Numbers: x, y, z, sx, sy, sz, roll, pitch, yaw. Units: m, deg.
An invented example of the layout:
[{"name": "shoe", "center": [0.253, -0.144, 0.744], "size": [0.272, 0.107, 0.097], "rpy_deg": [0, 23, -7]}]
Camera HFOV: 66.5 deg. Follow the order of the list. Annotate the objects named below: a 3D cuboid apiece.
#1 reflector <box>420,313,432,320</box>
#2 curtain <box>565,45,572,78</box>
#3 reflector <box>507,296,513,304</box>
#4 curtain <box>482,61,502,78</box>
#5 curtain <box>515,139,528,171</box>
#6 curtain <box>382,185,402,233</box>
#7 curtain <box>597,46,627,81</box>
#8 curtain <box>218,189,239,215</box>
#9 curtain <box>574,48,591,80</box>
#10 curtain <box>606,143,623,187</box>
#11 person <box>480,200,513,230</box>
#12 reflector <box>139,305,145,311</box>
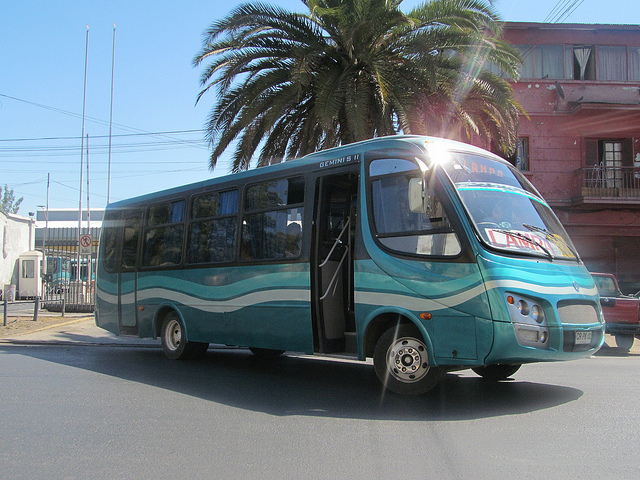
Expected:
[{"name": "reflector", "center": [1.455, 1.023, 6.587], "size": [0.160, 0.086, 0.012], "rpy_deg": [-3, -3, 30]}, {"name": "curtain", "center": [12.228, -8.691, 23.707], "size": [0.372, 1.650, 0.123], "rpy_deg": [0, -3, -8]}, {"name": "reflector", "center": [2.432, 0.753, 6.169], "size": [0.075, 0.095, 0.016], "rpy_deg": [0, -3, -20]}, {"name": "curtain", "center": [8.320, -8.157, 23.234], "size": [0.669, 0.837, 0.782], "rpy_deg": [-3, -3, 30]}, {"name": "curtain", "center": [9.619, -4.020, 23.051], "size": [0.596, 1.515, 0.397], "rpy_deg": [-1, -3, -2]}, {"name": "curtain", "center": [1.105, -0.481, 7.321], "size": [0.319, 0.942, 0.032], "rpy_deg": [-1, -38, 10]}, {"name": "curtain", "center": [14.343, -8.553, 23.814], "size": [1.648, 1.854, 0.128], "rpy_deg": [-1, -3, -6]}, {"name": "curtain", "center": [-1.856, -0.778, 9.998], "size": [0.034, 0.360, 0.472], "rpy_deg": [13, -21, -38]}, {"name": "curtain", "center": [12.952, -8.614, 23.776], "size": [0.780, 1.520, 0.143], "rpy_deg": [0, -3, -9]}, {"name": "curtain", "center": [14.426, -3.640, 23.719], "size": [0.746, 2.304, 0.094], "rpy_deg": [1, -7, 13]}, {"name": "person", "center": [2.482, -0.366, 6.768], "size": [0.261, 0.452, 0.711], "rpy_deg": [-3, -4, 39]}, {"name": "reflector", "center": [-4.288, 1.628, 11.682], "size": [0.216, 0.109, 0.014], "rpy_deg": [-3, -3, 35]}]
